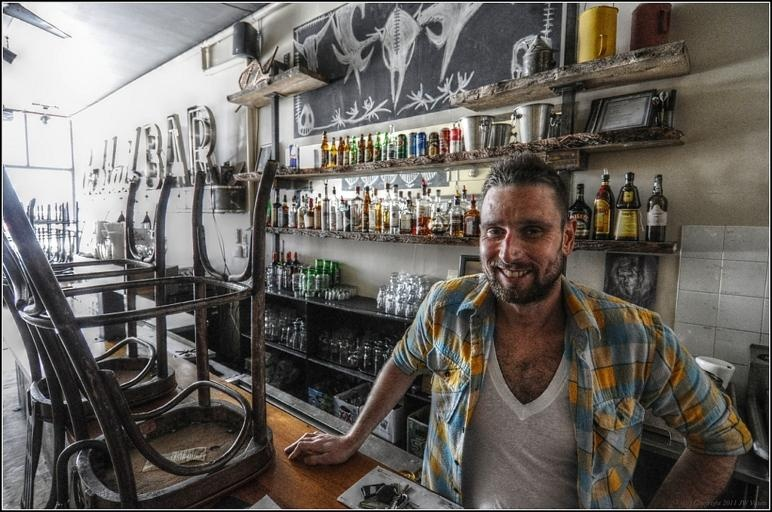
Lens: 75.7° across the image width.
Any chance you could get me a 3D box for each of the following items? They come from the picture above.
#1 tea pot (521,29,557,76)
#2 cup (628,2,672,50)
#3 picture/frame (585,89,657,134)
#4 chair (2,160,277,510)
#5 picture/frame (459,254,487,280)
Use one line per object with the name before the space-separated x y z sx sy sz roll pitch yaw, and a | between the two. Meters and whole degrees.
tea pot | 1.042 -1.319 3.373 0.189 0.289 0.279 3 -4 -39
cup | 1.636 -1.414 3.062 0.245 0.275 0.114 -2 6 11
picture/frame | 1.532 -0.927 3.194 0.466 0.427 0.050 0 -32 36
chair | -1.080 0.311 2.949 1.693 1.978 1.251 -5 11 -32
picture/frame | 0.587 0.071 3.363 0.168 0.147 0.016 -8 8 -20
